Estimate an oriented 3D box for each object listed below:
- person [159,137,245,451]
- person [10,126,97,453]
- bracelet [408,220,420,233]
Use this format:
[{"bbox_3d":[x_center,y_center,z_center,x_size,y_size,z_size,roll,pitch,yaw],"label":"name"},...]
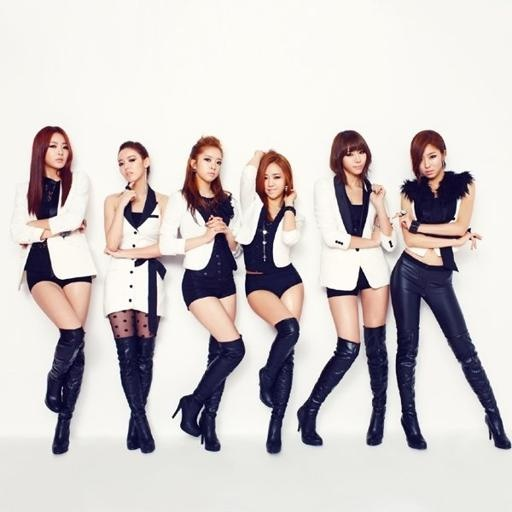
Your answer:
[{"bbox_3d":[-0.365,0.264,3.556,0.566,2.228,0.451,0,2,-2],"label":"person"},{"bbox_3d":[-1.387,0.232,3.581,0.504,2.280,0.388,0,2,8],"label":"person"},{"bbox_3d":[1.101,-0.203,3.553,0.069,0.082,0.071,24,21,9],"label":"bracelet"}]
